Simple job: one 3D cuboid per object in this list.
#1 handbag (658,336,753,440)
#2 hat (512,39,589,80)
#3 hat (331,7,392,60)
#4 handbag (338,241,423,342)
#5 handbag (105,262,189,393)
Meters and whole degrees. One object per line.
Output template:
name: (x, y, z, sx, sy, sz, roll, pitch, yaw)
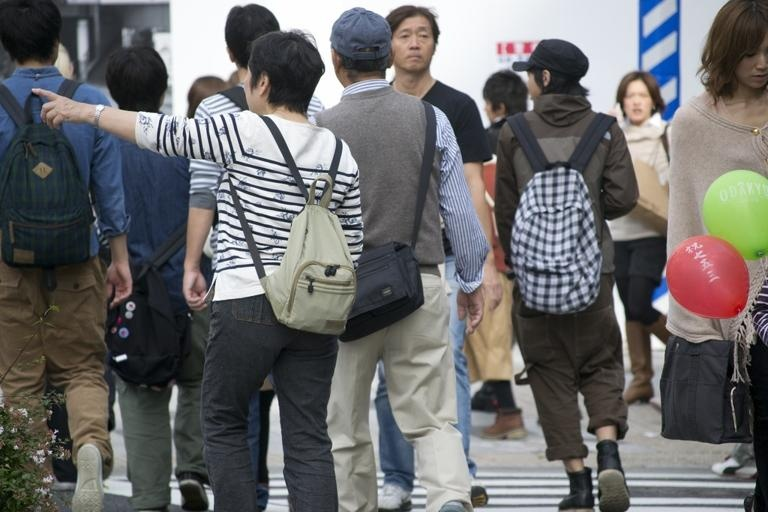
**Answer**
handbag: (1.916, 0.779, 7.652, 0.361, 0.612, 0.702, 0, -2, -31)
hat: (1.084, -1.286, 8.477, 0.410, 0.167, 0.256, 12, 12, 16)
hat: (-0.151, -1.357, 7.867, 0.366, 0.339, 0.188, -2, -6, -3)
handbag: (-0.039, 0.209, 7.628, 0.521, 0.420, 0.256, -20, -34, 13)
handbag: (-1.530, 0.472, 8.494, 0.646, 0.687, 0.300, 0, -4, 1)
